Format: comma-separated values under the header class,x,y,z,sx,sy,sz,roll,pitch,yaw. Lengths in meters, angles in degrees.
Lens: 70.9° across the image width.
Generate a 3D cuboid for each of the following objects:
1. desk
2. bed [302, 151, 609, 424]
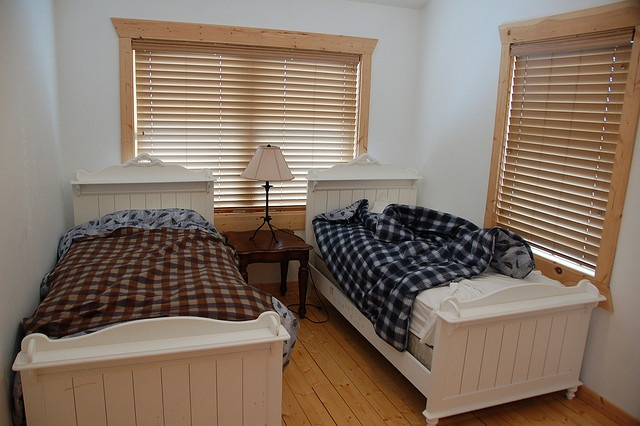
class,x,y,z,sx,sy,sz,roll,pitch,yaw
desk,-0.405,0.602,4.132,0.687,0.606,0.669,-1,-2,-9
bed,0.758,0.322,3.784,1.464,1.479,2.297,-6,17,-21
